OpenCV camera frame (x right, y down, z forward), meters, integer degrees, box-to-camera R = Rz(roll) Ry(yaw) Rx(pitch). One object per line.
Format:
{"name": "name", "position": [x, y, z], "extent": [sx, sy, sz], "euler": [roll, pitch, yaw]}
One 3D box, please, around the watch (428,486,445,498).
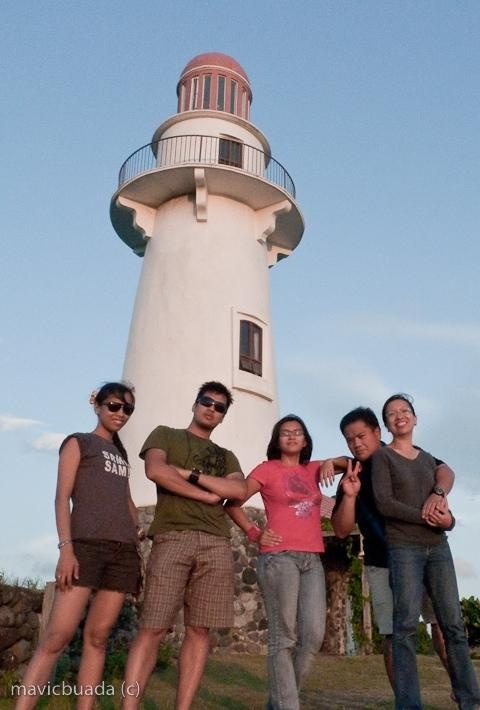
{"name": "watch", "position": [1.356, 0.933, 4.437], "extent": [0.071, 0.064, 0.049], "euler": [8, 28, 28]}

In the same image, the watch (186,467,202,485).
{"name": "watch", "position": [-0.300, 0.805, 4.302], "extent": [0.080, 0.083, 0.086], "euler": [6, -39, 4]}
